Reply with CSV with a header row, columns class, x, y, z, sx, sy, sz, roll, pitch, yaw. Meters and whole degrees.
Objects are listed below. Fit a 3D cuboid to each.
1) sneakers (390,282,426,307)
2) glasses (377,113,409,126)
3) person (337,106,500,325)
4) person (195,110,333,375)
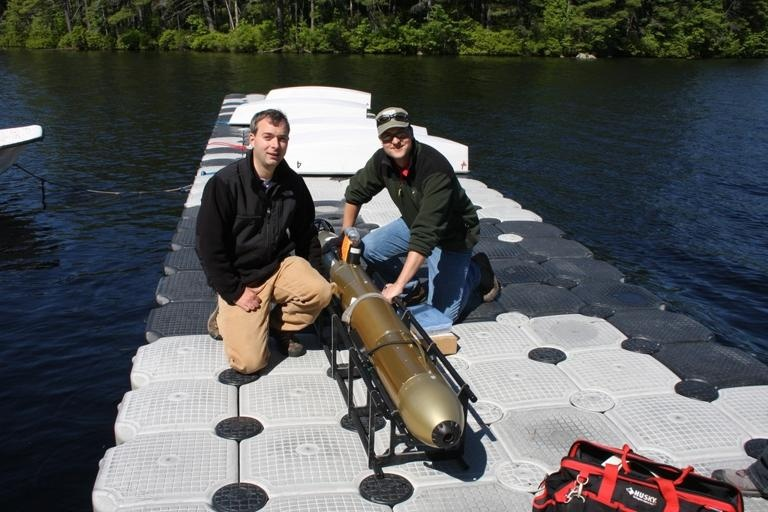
class,x,y,z,sx,sy,sz,roll,pitch,yaw
sneakers,0.292,0.413,5.672,0.501,0.165,0.169,-9,12,-43
glasses,0.076,-1.188,4.455,0.169,0.142,0.033,-5,70,8
person,0.202,-0.337,5.051,1.202,2.180,1.678,21,33,33
person,-1.027,-0.118,4.516,1.120,2.195,0.995,-15,32,-28
